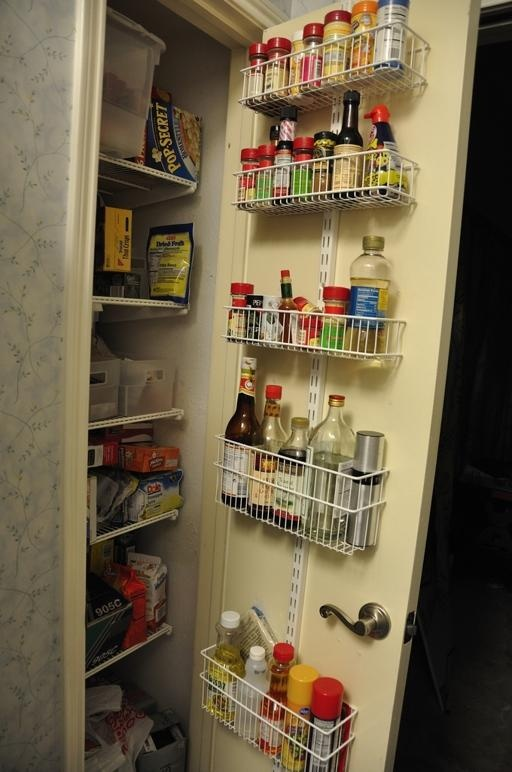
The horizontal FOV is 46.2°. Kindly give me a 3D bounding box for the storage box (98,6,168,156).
[{"bbox_3d":[-0.299,-0.706,1.462,0.200,0.207,0.144,15,20,-14],"label":"storage box"}]

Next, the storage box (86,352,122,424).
[{"bbox_3d":[-0.384,0.010,1.520,0.031,0.154,0.106,8,6,26],"label":"storage box"}]

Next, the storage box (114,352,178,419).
[{"bbox_3d":[-0.313,0.000,1.674,0.108,0.150,0.212,6,10,26],"label":"storage box"}]

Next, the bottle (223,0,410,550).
[{"bbox_3d":[0.090,-0.212,1.212,0.179,1.086,0.462,1,7,-38],"label":"bottle"}]
